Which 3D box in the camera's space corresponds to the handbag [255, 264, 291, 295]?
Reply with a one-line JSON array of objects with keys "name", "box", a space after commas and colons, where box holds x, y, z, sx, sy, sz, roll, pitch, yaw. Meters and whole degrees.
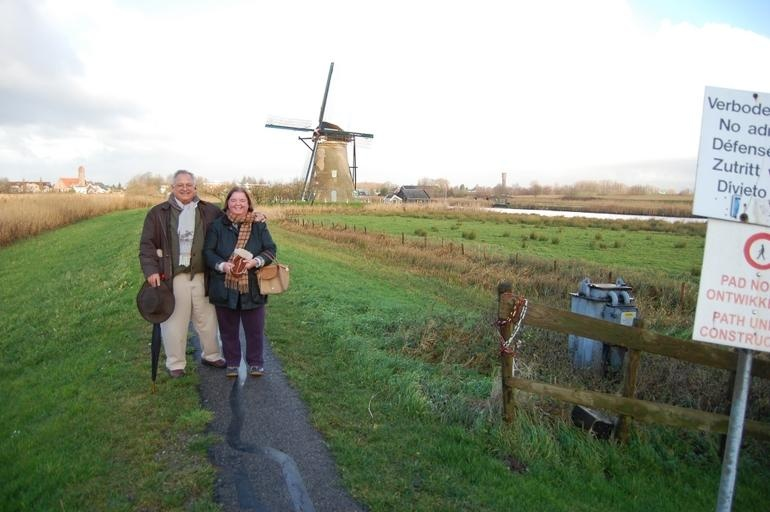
[{"name": "handbag", "box": [-2.075, 0.431, 8.447, 0.615, 0.733, 0.222, -2, -1, -10]}]

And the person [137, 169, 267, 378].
[{"name": "person", "box": [-3.731, 0.339, 8.431, 1.350, 3.692, 0.722, -2, 9, -30]}]

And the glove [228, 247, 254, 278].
[{"name": "glove", "box": [-2.584, 0.125, 8.320, 0.322, 0.488, 0.162, 13, -9, 7]}]

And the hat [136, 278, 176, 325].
[{"name": "hat", "box": [-3.969, 0.780, 8.020, 0.572, 0.763, 0.250, -6, 0, -5]}]

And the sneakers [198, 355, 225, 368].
[{"name": "sneakers", "box": [-3.308, 2.044, 8.898, 0.466, 0.219, 0.180, -2, 5, 2]}]
